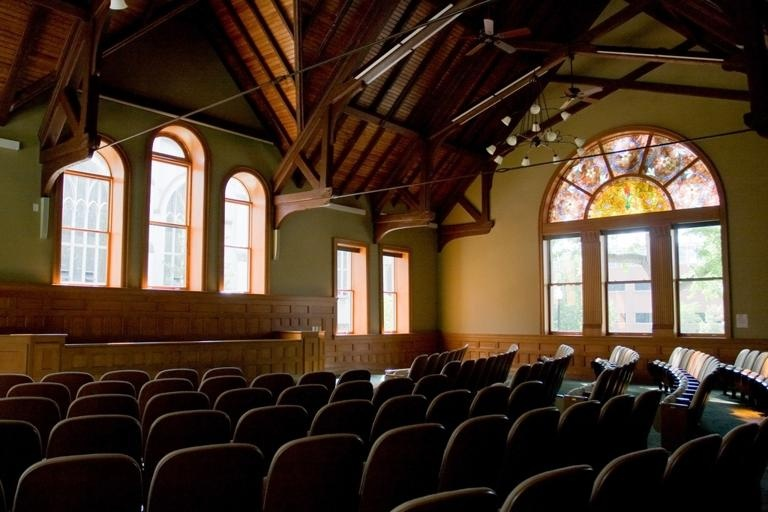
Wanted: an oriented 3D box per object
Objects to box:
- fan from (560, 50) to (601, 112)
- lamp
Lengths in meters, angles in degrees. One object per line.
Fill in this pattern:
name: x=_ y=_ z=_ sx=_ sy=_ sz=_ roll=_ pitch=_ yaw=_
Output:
fan: x=3.926 y=-3.784 z=12.326 sx=0.822 sy=0.849 sz=0.900 roll=4 pitch=17 yaw=39
lamp: x=4.041 y=-3.692 z=15.502 sx=1.922 sy=2.287 sz=2.052 roll=3 pitch=-27 yaw=5
